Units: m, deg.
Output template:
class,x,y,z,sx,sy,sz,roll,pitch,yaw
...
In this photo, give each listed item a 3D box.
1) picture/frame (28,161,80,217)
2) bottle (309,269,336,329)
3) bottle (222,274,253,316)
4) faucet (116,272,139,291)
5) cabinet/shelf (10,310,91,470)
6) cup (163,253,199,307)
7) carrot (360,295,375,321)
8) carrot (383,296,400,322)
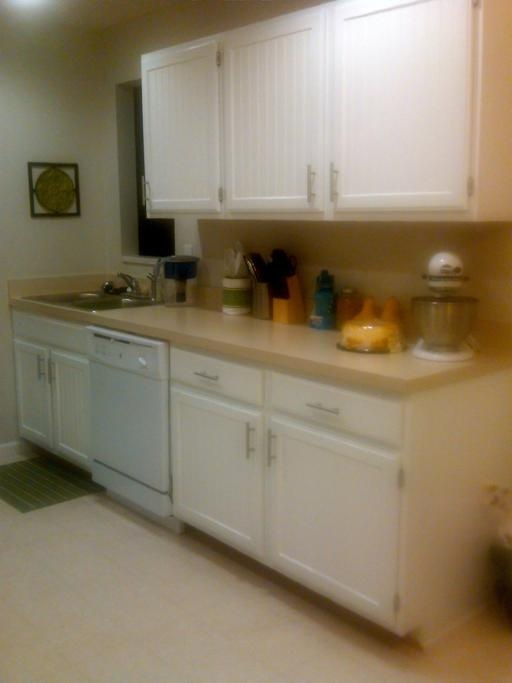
class,x,y,z,sx,sy,sz,roll,pitch,yaw
picture/frame,-1.196,-0.898,3.211,0.048,0.331,0.300,5,10,38
bottle,0.260,-0.163,2.137,0.094,0.229,0.175,0,4,8
bottle,-0.085,-0.211,2.447,0.140,0.180,0.150,1,11,0
faucet,-0.765,-0.357,3.315,0.108,0.118,0.332,-1,4,-12
cabinet/shelf,-1.002,0.231,3.063,0.613,0.767,0.386,12,18,27
cup,-0.385,-0.311,2.760,0.212,0.285,0.184,-11,19,-35
carrot,0.388,-0.116,1.924,0.049,0.075,0.120,0,4,12
carrot,0.457,-0.109,1.874,0.053,0.082,0.067,0,4,14
